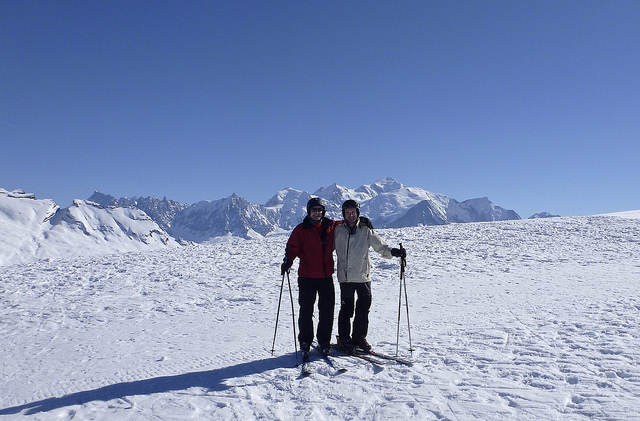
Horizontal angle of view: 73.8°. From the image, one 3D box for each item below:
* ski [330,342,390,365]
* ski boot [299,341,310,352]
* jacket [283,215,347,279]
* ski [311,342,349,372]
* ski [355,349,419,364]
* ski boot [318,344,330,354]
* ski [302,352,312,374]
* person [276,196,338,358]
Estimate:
[{"bbox_3d":[1.064,4.010,11.949,1.494,0.131,0.157,11,29,36],"label":"ski"},{"bbox_3d":[-0.418,3.713,11.659,0.270,0.488,0.269,1,-14,-6],"label":"ski boot"},{"bbox_3d":[-0.241,1.035,11.871,1.216,1.669,0.523,-3,7,-5],"label":"jacket"},{"bbox_3d":[0.102,4.012,12.065,0.298,0.199,2.637,-6,5,-23],"label":"ski"},{"bbox_3d":[1.847,4.085,11.946,1.329,0.116,0.139,5,16,20],"label":"ski"},{"bbox_3d":[0.116,3.833,11.842,0.212,0.292,0.069,4,-2,19],"label":"ski boot"},{"bbox_3d":[-0.359,4.077,11.391,0.217,0.035,0.745,-6,14,3],"label":"ski"},{"bbox_3d":[-0.178,1.842,11.859,1.506,4.370,0.989,-3,8,-9],"label":"person"}]
